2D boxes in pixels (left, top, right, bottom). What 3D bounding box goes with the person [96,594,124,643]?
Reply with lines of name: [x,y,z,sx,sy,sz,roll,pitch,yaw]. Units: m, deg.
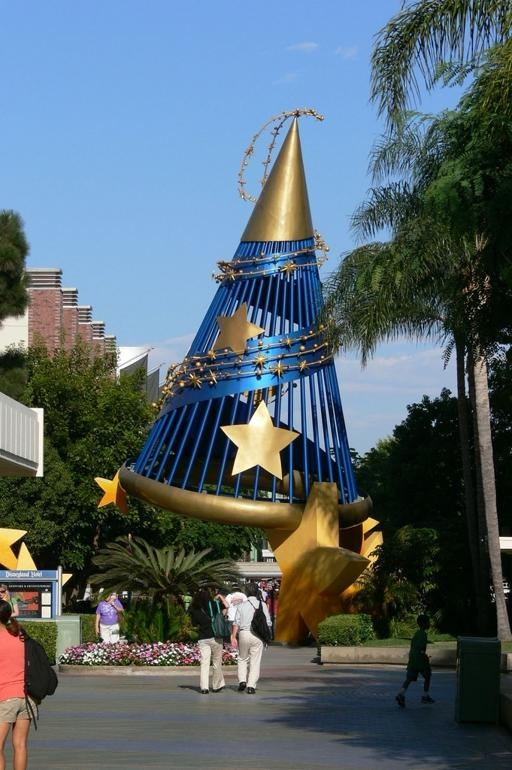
person: [-2.832,4.520,16.632,0.484,0.929,0.935,2,-7,-9]

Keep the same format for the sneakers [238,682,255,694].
sneakers: [-0.124,4.132,11.696,0.107,0.108,0.266,3,1,-11]

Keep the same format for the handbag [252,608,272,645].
handbag: [0.062,3.327,11.890,0.255,0.559,0.425,1,-7,0]

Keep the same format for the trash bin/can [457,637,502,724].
trash bin/can: [2.270,3.035,8.790,0.444,0.859,0.341,-1,-7,11]

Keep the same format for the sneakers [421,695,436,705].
sneakers: [2.207,4.053,11.055,0.235,0.145,0.072,1,-1,-1]
